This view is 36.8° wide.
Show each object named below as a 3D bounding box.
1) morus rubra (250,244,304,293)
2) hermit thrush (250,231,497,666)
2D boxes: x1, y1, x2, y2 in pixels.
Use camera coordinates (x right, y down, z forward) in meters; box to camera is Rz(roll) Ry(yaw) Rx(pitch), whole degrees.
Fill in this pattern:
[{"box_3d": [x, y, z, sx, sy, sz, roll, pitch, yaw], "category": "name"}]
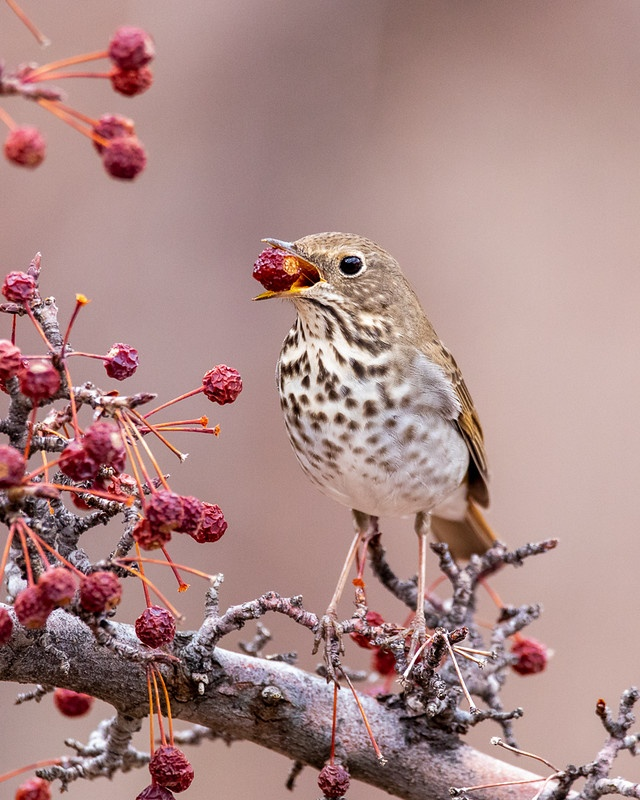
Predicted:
[{"box_3d": [-0.124, -0.391, 2.852, 0.146, 0.134, 0.133, -4, -80, -12], "category": "morus rubra"}, {"box_3d": [0.209, 0.116, 3.430, 0.862, 1.031, 1.402, -4, -78, 4], "category": "hermit thrush"}]
